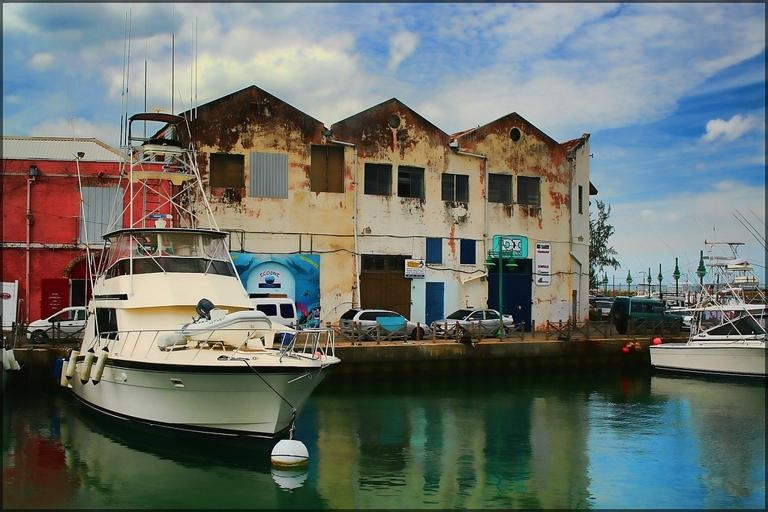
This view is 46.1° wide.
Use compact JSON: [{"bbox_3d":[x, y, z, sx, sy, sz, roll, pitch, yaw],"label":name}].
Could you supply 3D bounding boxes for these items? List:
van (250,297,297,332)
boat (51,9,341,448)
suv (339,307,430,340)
[{"bbox_3d":[-4.794,2.544,40.367,1.451,1.225,2.131,0,3,-16],"label":"van"},{"bbox_3d":[-7.691,0.548,35.348,6.970,11.733,19.287,-4,7,-30],"label":"boat"},{"bbox_3d":[-0.096,3.208,42.722,4.523,1.661,2.802,-1,-4,-12],"label":"suv"}]
